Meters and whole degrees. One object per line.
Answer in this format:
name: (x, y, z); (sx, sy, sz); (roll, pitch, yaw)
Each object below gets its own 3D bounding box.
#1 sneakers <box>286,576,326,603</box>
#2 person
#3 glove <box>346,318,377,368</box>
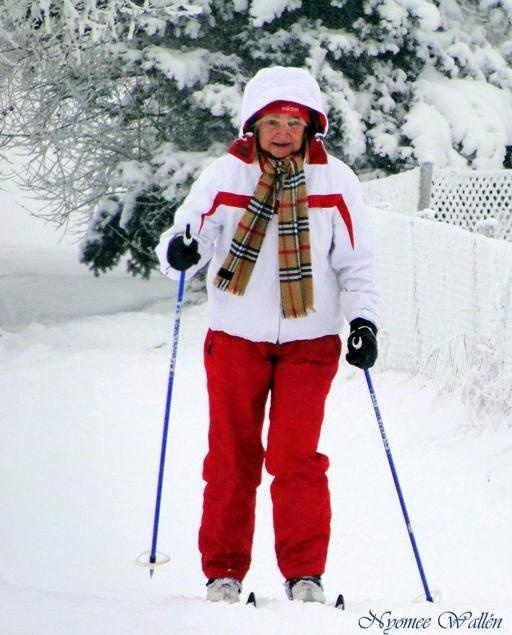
sneakers: (0.197, 1.070, 3.894); (0.126, 0.086, 0.045); (-2, -15, 22)
person: (0.077, 0.051, 4.011); (0.901, 2.081, 0.613); (-3, 10, -7)
glove: (0.445, 0.113, 4.143); (0.133, 0.201, 0.086); (0, -7, 2)
